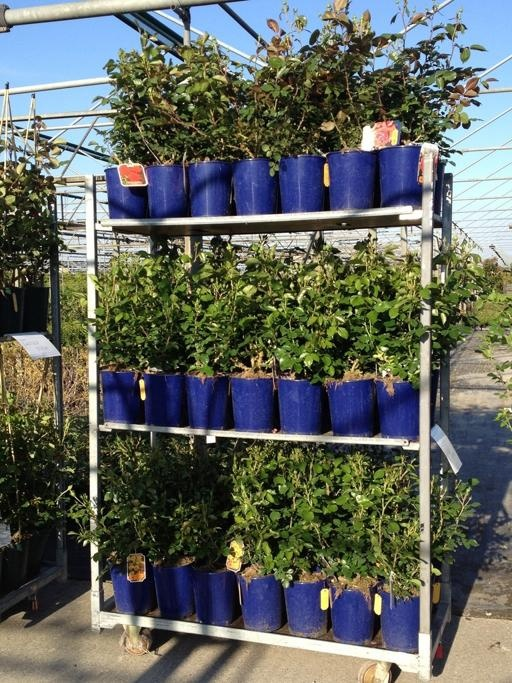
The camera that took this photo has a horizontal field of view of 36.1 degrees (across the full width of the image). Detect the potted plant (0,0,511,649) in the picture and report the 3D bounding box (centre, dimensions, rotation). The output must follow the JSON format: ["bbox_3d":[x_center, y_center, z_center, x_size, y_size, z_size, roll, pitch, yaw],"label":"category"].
[{"bbox_3d":[0.123,-0.046,3.600,1.694,2.808,1.100,2,9,19],"label":"potted plant"}]
